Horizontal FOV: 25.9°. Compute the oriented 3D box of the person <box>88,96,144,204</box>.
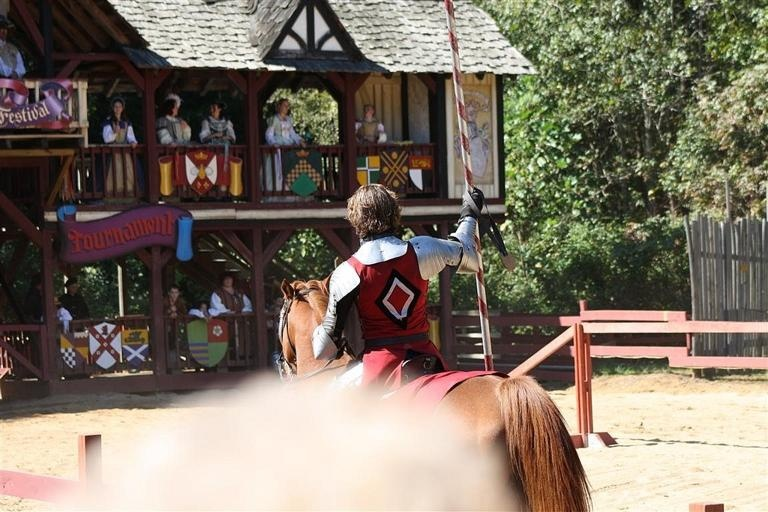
[{"bbox_3d":[-7.252,-2.730,45.244,0.853,3.027,1.041,2,-8,45],"label":"person"}]

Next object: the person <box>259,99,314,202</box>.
[{"bbox_3d":[-2.882,-2.974,46.584,0.981,2.845,0.847,-1,1,-3],"label":"person"}]
